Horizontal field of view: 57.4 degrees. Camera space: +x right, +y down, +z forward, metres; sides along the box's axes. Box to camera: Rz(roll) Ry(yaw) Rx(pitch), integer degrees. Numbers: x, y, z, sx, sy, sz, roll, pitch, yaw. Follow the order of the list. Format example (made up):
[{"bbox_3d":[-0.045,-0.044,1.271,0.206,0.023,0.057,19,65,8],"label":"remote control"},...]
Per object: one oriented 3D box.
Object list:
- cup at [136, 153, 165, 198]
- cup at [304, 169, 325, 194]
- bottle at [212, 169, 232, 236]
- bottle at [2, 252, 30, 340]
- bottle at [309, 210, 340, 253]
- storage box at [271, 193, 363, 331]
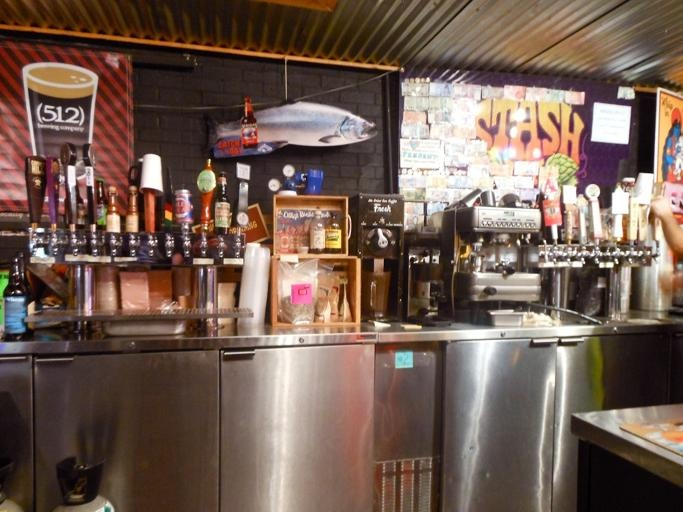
[{"bbox_3d":[-1.216,-0.527,4.003,0.138,0.274,0.202,-2,2,-17],"label":"cup"},{"bbox_3d":[-0.200,-0.539,4.556,0.122,0.202,0.219,-1,2,-2],"label":"cup"},{"bbox_3d":[-0.779,-0.336,4.081,0.105,0.409,0.325,-2,2,-11],"label":"bottle"},{"bbox_3d":[-1.949,0.240,3.750,0.148,0.500,0.222,-3,3,-27],"label":"bottle"},{"bbox_3d":[-0.110,-0.162,4.386,0.271,0.383,0.147,1,-10,-7],"label":"bottle"},{"bbox_3d":[-0.161,0.068,4.316,0.847,1.222,0.621,1,-5,-8],"label":"storage box"}]
